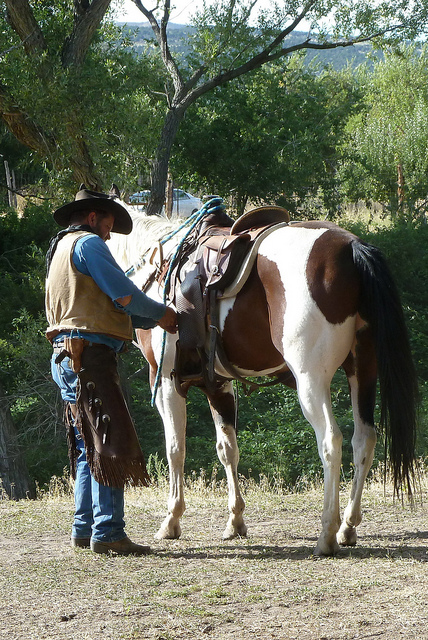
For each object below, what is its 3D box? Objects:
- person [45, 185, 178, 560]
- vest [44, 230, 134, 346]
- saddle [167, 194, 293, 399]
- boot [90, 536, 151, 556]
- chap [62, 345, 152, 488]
[{"bbox_3d":[-0.592,0.273,4.439,0.559,2.072,0.663,-2,-4,-30],"label":"person"},{"bbox_3d":[-0.692,-0.162,4.532,0.497,0.700,0.559,5,-8,-23],"label":"vest"},{"bbox_3d":[0.226,-0.180,4.642,0.504,0.923,1.628,1,-5,-22],"label":"saddle"},{"bbox_3d":[-0.510,1.246,4.410,0.334,0.122,0.105,0,3,-13],"label":"boot"},{"bbox_3d":[-0.559,0.517,4.285,0.377,0.769,0.205,-3,-4,-4],"label":"chap"}]
